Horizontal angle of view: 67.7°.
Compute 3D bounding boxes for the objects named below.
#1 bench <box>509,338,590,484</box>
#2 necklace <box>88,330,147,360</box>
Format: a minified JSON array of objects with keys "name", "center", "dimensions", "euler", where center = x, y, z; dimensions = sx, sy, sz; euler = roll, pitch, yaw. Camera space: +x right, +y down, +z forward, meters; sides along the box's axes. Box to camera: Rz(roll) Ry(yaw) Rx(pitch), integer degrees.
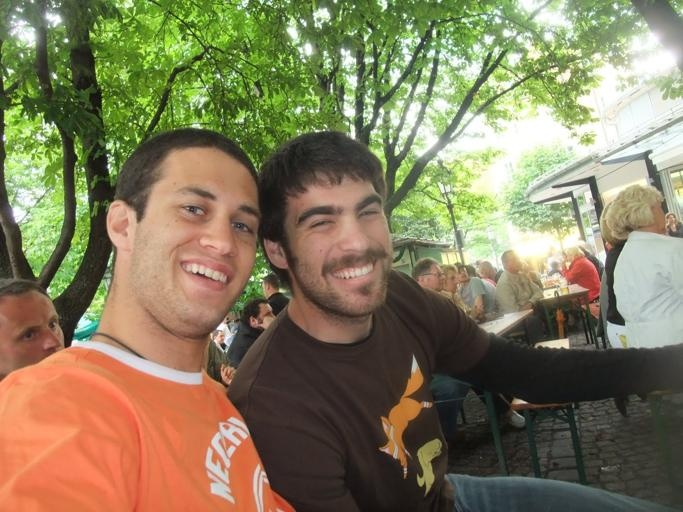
[{"name":"bench","center":[2.162,1.438,5.732],"dimensions":[0.536,1.031,2.262],"euler":[-12,15,14]},{"name":"necklace","center":[-0.864,0.342,1.972],"dimensions":[0.196,0.131,0.059],"euler":[-8,-12,3]}]
